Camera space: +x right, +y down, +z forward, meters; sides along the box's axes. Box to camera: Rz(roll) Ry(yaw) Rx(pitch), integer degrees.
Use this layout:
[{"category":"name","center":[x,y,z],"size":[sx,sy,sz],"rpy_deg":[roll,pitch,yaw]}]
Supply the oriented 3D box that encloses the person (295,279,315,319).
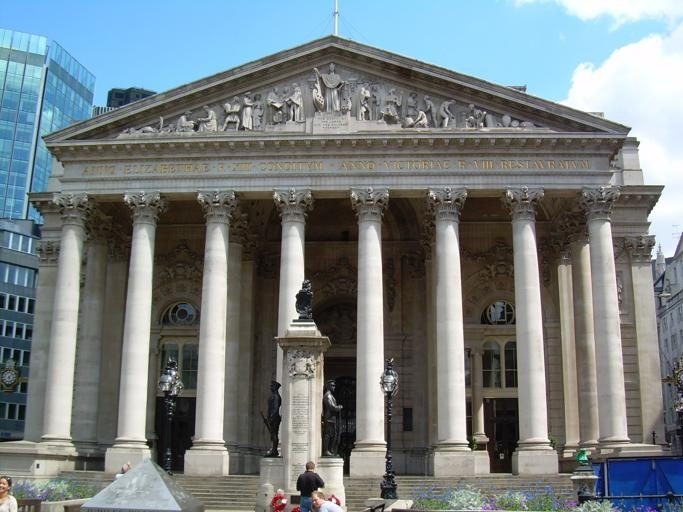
[{"category":"person","center":[-1.521,1.678,32.040],"size":[0.781,1.797,0.561],"rpy_deg":[9,30,8]}]
